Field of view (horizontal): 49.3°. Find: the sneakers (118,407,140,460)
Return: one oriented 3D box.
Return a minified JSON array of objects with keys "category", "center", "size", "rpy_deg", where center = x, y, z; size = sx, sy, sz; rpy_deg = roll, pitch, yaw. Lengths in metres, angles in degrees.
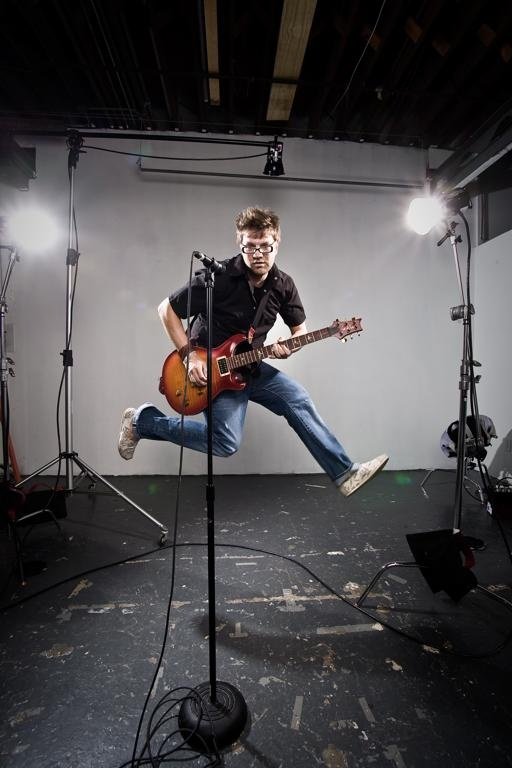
[{"category":"sneakers","center":[-0.677,0.259,2.943],"size":[0.108,0.341,0.132],"rpy_deg":[1,11,-26]}]

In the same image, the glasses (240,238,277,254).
[{"category":"glasses","center":[0.006,-0.696,2.862],"size":[0.174,0.070,0.092],"rpy_deg":[0,6,-1]}]

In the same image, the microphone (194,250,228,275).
[{"category":"microphone","center":[-0.128,-0.365,1.671],"size":[0.044,0.047,0.145],"rpy_deg":[17,-10,29]}]
